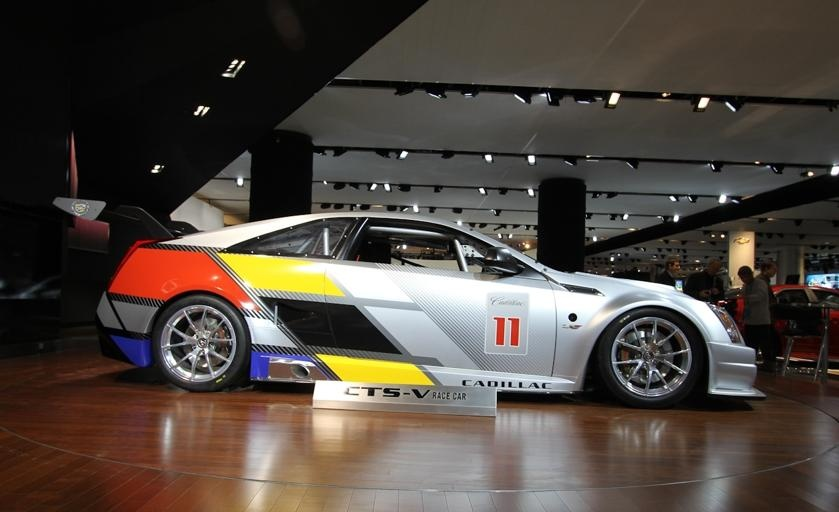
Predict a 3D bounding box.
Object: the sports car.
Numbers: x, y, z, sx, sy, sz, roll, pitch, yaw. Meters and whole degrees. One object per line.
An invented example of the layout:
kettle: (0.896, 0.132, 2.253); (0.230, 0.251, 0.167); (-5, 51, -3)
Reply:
sports car: (0.087, 0.661, 6.541); (6.823, 1.549, 2.846); (0, -2, 1)
